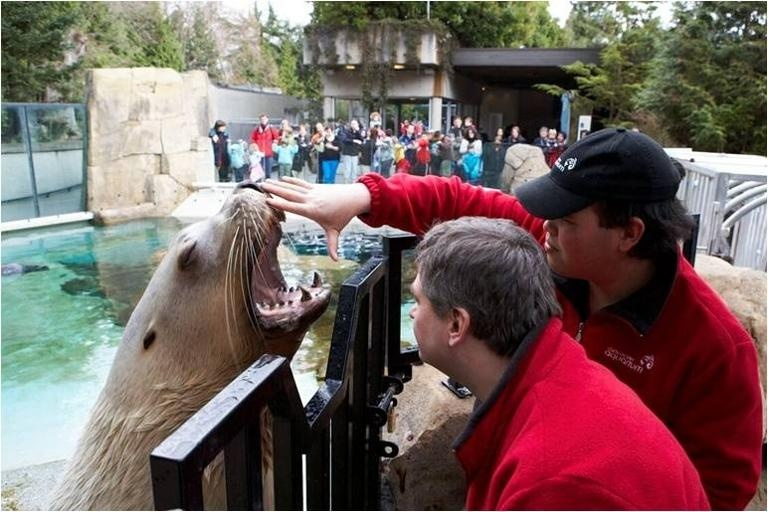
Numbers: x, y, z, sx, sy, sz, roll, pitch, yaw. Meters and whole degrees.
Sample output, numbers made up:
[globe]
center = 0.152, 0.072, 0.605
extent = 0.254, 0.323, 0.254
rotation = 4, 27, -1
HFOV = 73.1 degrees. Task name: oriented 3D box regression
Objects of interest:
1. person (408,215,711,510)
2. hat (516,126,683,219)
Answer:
[person]
center = 0.538, 0.367, 1.998
extent = 0.809, 1.169, 1.160
rotation = -3, -5, 8
[hat]
center = 0.873, -0.380, 2.138
extent = 0.647, 0.292, 0.441
rotation = -3, 20, 8
